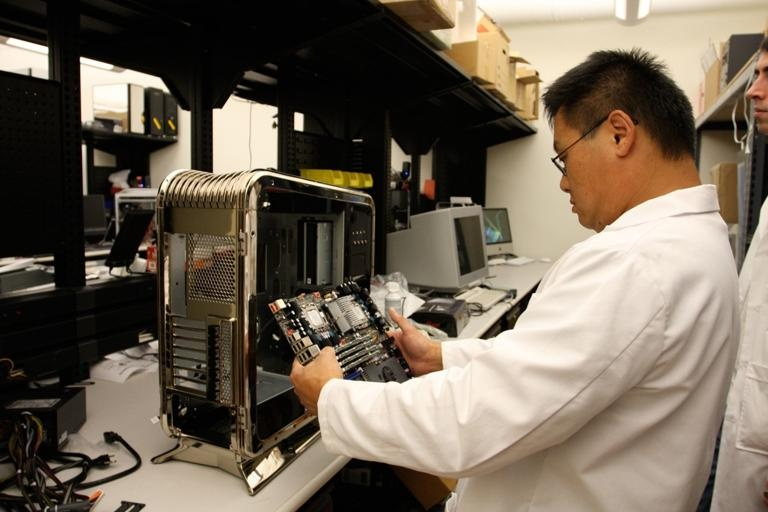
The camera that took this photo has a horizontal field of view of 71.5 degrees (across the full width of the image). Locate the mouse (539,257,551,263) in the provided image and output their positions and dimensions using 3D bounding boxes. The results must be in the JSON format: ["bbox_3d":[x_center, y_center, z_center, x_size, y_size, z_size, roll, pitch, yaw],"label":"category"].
[{"bbox_3d":[1.552,0.042,5.133,0.073,0.028,0.103,3,7,18],"label":"mouse"}]

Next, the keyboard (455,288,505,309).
[{"bbox_3d":[0.533,0.230,2.938,0.145,0.038,0.156,9,16,29],"label":"keyboard"}]

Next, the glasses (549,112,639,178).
[{"bbox_3d":[0.520,-0.281,1.355,0.142,0.043,0.140,-33,0,-4],"label":"glasses"}]

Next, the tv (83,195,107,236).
[{"bbox_3d":[-2.181,-0.298,4.013,0.128,0.248,0.346,-2,-1,-27],"label":"tv"}]

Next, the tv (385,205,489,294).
[{"bbox_3d":[0.314,-0.034,3.169,0.490,0.493,0.510,2,4,26],"label":"tv"}]
